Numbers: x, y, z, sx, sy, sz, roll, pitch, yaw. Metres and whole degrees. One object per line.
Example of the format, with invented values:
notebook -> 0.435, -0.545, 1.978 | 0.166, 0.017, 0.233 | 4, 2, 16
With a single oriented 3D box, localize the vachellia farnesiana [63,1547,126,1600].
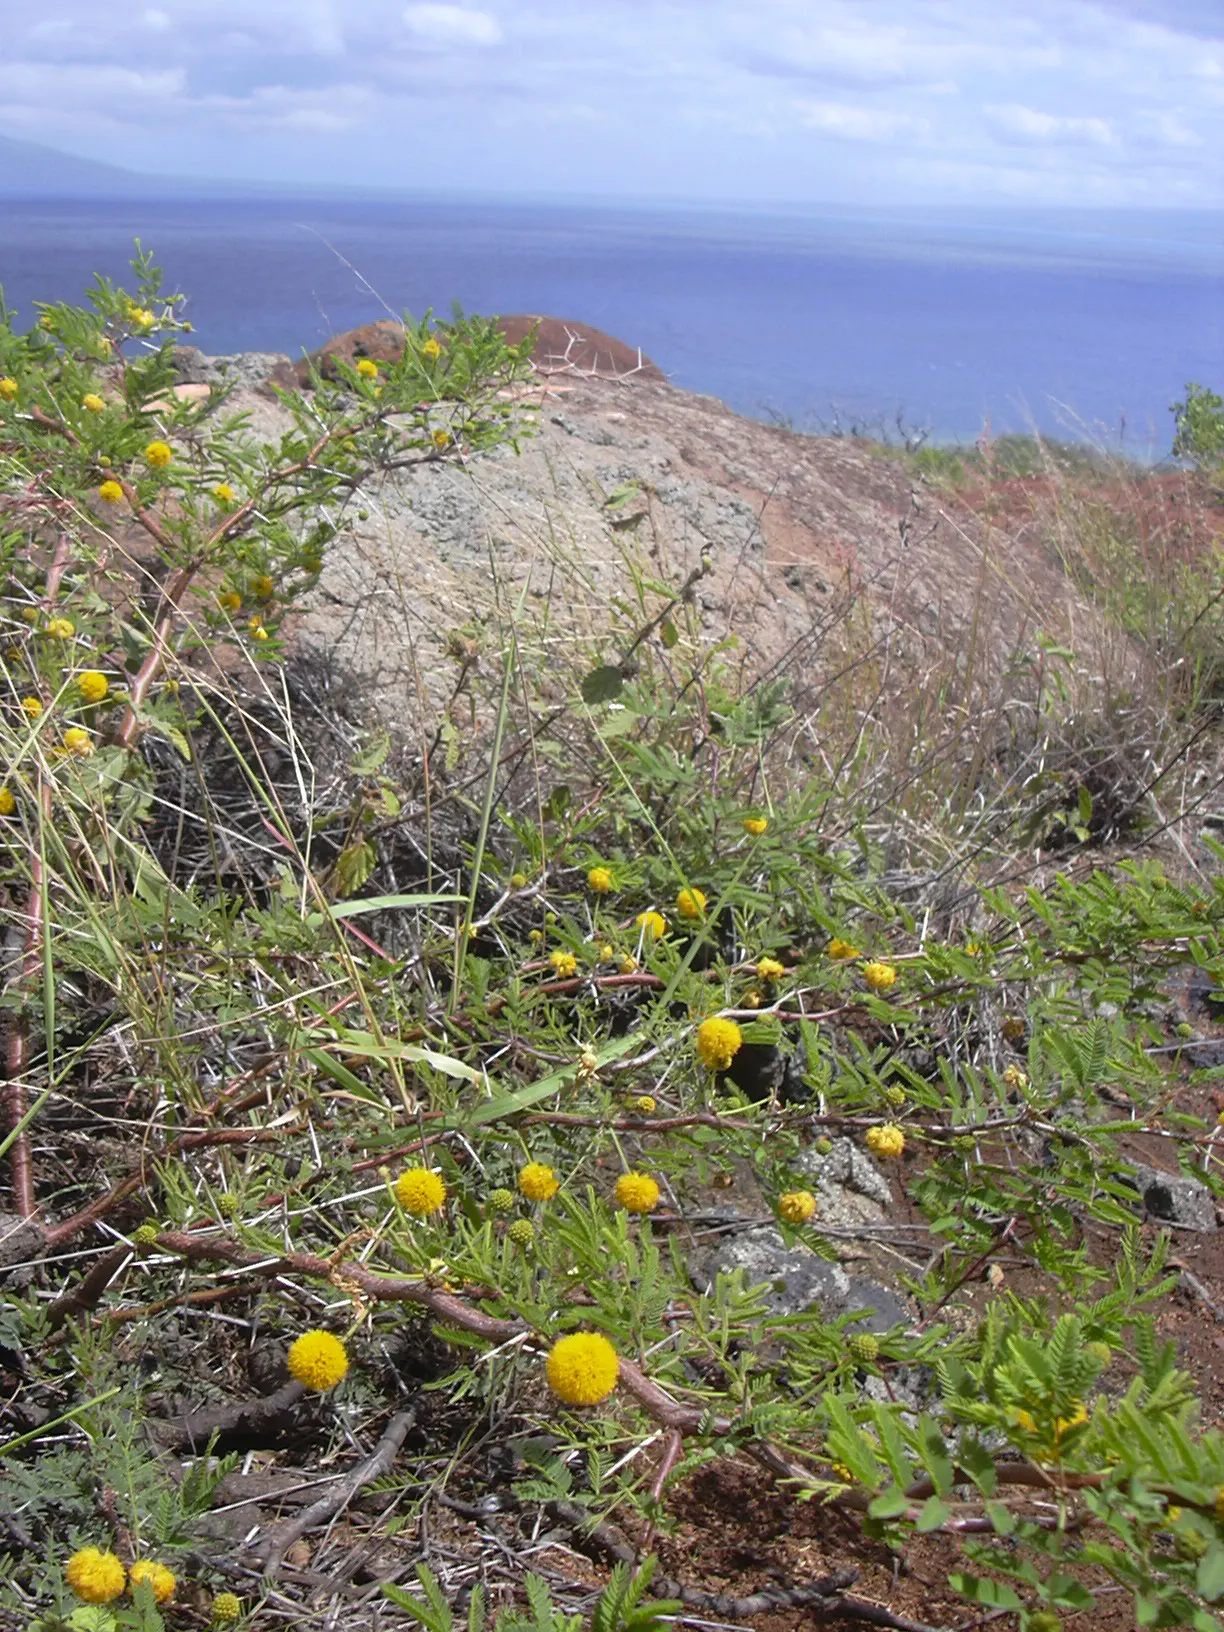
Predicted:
vachellia farnesiana -> -0.434, 0.641, 1.152 | 0.041, 0.056, 0.029 | 5, 10, -18
